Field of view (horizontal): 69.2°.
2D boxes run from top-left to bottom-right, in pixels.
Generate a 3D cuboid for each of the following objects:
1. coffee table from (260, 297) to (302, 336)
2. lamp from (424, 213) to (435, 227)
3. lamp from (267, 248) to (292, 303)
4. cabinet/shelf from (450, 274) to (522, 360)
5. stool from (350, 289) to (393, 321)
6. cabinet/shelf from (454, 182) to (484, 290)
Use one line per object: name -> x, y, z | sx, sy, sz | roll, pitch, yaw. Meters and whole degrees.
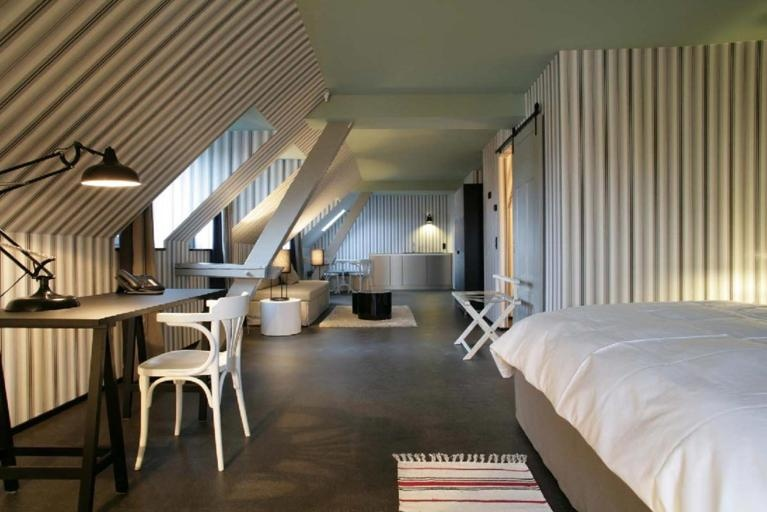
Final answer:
coffee table -> -1.290, 0.750, 6.981 | 0.544, 0.412, 0.556 | -1, 3, -14
lamp -> 1.077, -0.870, 13.207 | 0.236, 0.258, 0.229 | 2, -3, 6
lamp -> -1.437, 0.262, 7.680 | 0.311, 0.721, 0.292 | 0, 4, -3
cabinet/shelf -> 1.136, 0.840, 6.404 | 0.545, 0.608, 0.860 | 20, 9, 3
stool -> -0.181, 0.702, 7.987 | 0.410, 0.285, 0.448 | 0, 1, -8
cabinet/shelf -> 1.378, -0.238, 8.810 | 0.414, 1.777, 0.970 | 1, 13, 6
